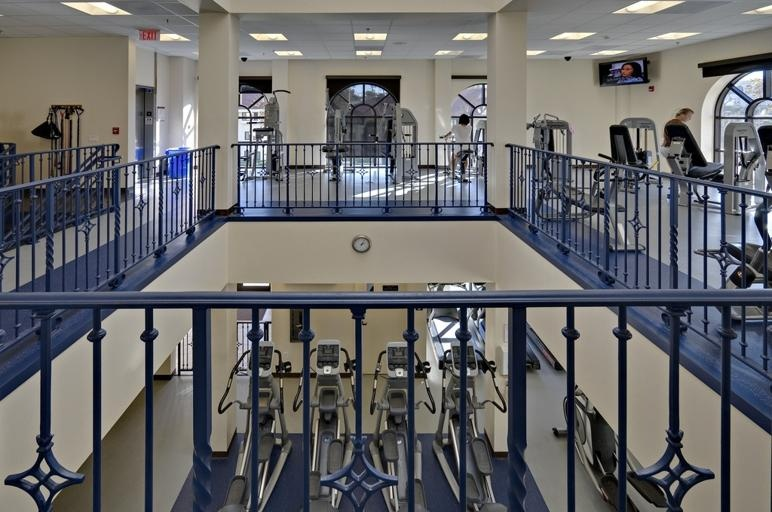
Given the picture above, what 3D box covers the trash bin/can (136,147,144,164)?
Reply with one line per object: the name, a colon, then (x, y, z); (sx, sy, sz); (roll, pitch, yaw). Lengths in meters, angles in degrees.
trash bin/can: (-6.360, -2.652, 14.843); (0.124, 0.310, 0.430); (-2, 13, -8)
